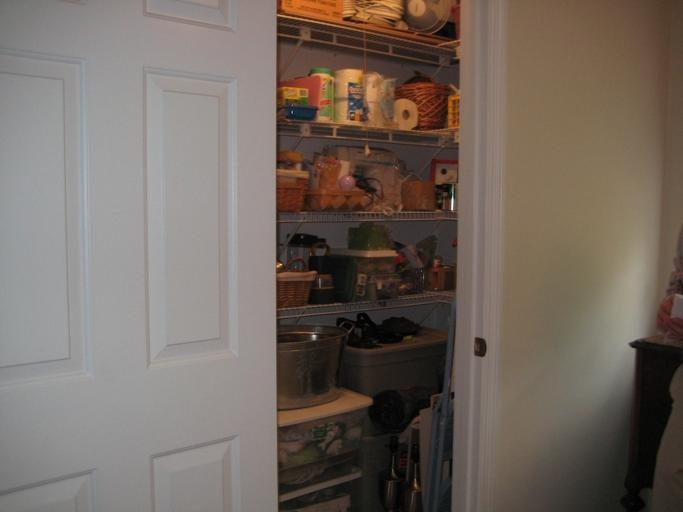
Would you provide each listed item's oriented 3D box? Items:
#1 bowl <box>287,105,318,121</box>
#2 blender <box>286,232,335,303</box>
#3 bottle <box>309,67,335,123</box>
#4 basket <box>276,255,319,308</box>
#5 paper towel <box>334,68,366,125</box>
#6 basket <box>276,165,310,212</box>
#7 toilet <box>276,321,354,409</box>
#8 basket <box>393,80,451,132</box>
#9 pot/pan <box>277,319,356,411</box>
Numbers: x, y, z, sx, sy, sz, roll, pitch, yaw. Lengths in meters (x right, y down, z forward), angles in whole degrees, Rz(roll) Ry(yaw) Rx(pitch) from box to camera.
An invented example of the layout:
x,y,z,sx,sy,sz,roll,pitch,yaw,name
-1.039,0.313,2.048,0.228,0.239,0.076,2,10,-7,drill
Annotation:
x,y,z,sx,sy,sz,roll,pitch,yaw,name
-0.175,-0.665,2.678,0.193,0.067,0.070,-6,7,-41,bowl
-0.133,0.053,2.928,0.216,0.389,0.357,0,-2,-38,blender
-0.104,-0.788,2.819,0.105,0.261,0.209,0,5,16,bottle
-0.245,0.104,2.840,0.191,0.225,0.263,-2,1,-24,basket
0.042,-0.795,2.875,0.149,0.265,0.048,-2,5,-7,paper towel
-0.222,-0.310,2.722,0.166,0.188,0.260,2,5,14,basket
-0.142,0.475,2.599,0.381,0.250,0.314,2,-3,-28,toilet
0.459,-0.830,3.196,0.244,0.199,0.267,0,11,1,basket
-0.150,0.461,2.574,0.366,0.252,0.357,3,-5,-41,pot/pan
